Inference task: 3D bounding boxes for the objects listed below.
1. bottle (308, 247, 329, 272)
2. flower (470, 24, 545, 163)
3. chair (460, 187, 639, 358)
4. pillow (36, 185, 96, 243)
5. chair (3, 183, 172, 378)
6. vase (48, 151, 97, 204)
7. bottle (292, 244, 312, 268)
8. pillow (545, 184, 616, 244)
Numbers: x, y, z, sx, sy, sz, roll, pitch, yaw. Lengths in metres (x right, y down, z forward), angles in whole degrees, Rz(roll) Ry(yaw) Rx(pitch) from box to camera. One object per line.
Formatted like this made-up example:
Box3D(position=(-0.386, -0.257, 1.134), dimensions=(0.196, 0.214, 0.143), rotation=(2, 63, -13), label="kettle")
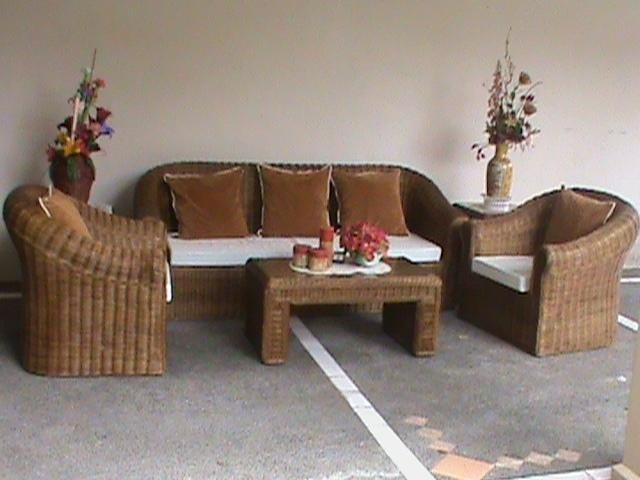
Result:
Box3D(position=(-0.007, 0.112, 3.084), dimensions=(0.118, 0.124, 0.120), rotation=(1, 7, -2), label="bottle")
Box3D(position=(1.573, -1.223, 4.420), dimensions=(0.528, 1.107, 0.738), rotation=(5, 12, 22), label="flower")
Box3D(position=(1.581, 0.240, 3.863), dimensions=(1.062, 1.258, 1.229), rotation=(-1, 7, -20), label="chair")
Box3D(position=(-1.379, -0.172, 2.828), dimensions=(0.274, 0.126, 0.357), rotation=(43, 11, -44), label="pillow")
Box3D(position=(-1.176, 0.138, 3.220), dimensions=(1.002, 1.195, 0.938), rotation=(-1, 10, -17), label="chair")
Box3D(position=(-1.661, -0.414, 3.519), dimensions=(0.242, 0.330, 0.242), rotation=(4, 13, 9), label="vase")
Box3D(position=(-0.110, 0.098, 3.151), dimensions=(0.117, 0.138, 0.122), rotation=(3, 2, 11), label="bottle")
Box3D(position=(1.757, -0.107, 3.551), dimensions=(0.115, 0.406, 0.389), rotation=(16, 7, -30), label="pillow")
